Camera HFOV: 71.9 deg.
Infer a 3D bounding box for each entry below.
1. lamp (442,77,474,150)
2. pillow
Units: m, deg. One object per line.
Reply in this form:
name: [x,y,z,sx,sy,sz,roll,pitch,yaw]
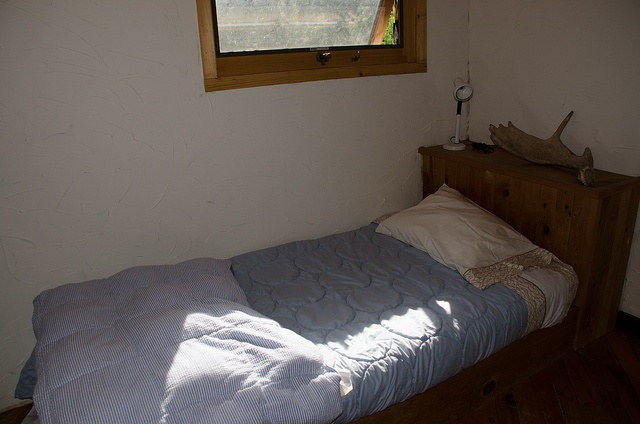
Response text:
lamp: [1.029,-0.724,3.302,0.181,0.473,0.341,6,22,17]
pillow: [0.918,0.148,2.985,0.764,0.239,0.937,-12,28,-30]
